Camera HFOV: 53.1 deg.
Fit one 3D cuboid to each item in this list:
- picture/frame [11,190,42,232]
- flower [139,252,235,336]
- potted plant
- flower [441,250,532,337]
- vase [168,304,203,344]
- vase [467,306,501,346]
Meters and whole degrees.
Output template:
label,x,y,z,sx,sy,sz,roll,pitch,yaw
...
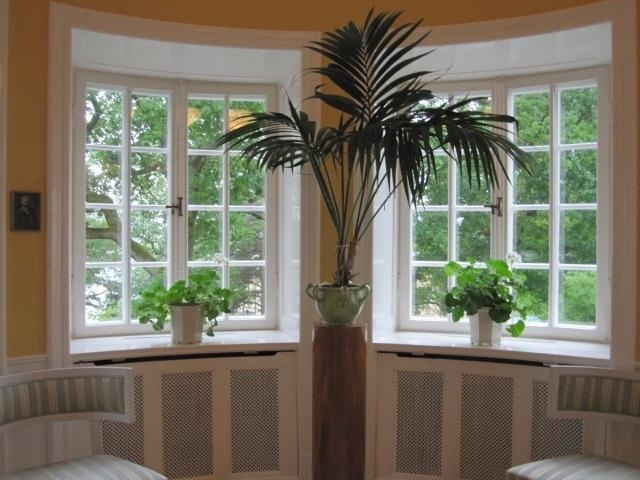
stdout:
label,x,y,z,sx,sy,sz,roll,pitch,yaw
picture/frame,-1.626,-0.149,3.531,0.153,0.220,0.017,1,-1,-41
flower,-0.916,0.390,4.016,0.498,0.395,0.626,6,3,35
potted plant,0.245,-0.309,3.673,1.362,1.491,1.423,-1,-5,44
flower,1.102,0.377,3.920,0.599,0.427,0.539,11,3,-27
vase,-0.789,0.519,3.883,0.202,0.191,0.223,0,-9,7
vase,0.975,0.528,3.868,0.218,0.231,0.201,0,-10,9
